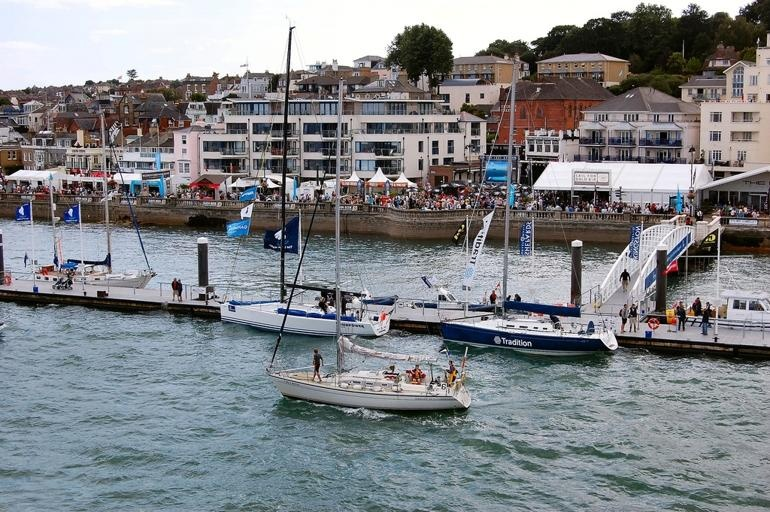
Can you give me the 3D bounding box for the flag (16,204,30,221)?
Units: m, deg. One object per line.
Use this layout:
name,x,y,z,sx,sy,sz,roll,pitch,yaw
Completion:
flag,-36.311,-4.429,136.502,1.148,1.641,3.518,0,5,-24

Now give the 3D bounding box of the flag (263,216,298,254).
flag,-9.869,-1.891,129.566,4.000,4.378,0.377,19,30,22

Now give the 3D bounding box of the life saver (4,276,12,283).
life saver,-36.265,2.351,130.091,0.610,0.834,0.595,0,-3,-8

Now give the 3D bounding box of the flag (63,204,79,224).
flag,-31.643,-4.281,137.454,1.427,1.701,3.677,1,5,-13

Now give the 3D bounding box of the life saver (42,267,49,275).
life saver,-32.886,1.442,131.261,0.707,0.660,1.745,1,5,-14

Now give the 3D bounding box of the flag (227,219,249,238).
flag,-13.971,-2.593,128.899,2.389,2.056,0.360,-3,11,-13
